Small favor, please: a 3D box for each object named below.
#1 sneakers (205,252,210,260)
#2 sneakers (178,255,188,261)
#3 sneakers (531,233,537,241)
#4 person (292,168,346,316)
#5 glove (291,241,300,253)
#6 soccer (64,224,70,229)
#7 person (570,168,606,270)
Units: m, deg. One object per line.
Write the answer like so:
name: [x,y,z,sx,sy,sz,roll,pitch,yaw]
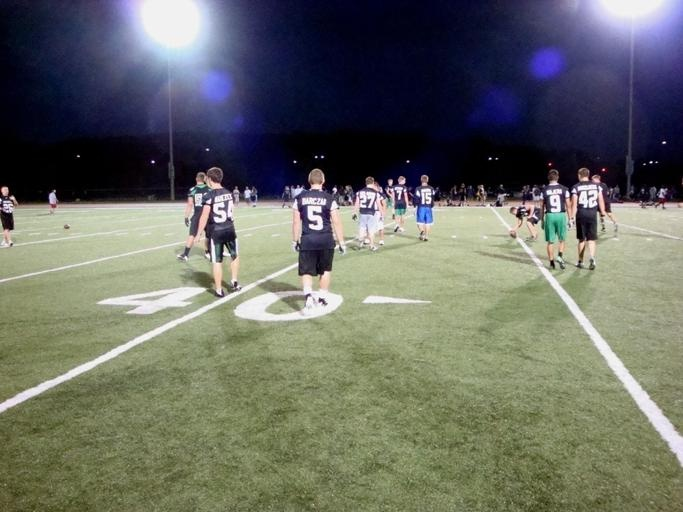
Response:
sneakers: [-2.799,-0.008,10.171,0.105,0.155,0.148,-1,-26,-7]
sneakers: [-3.422,0.043,10.532,0.158,0.154,0.282,-6,14,-25]
sneakers: [5.934,-0.588,14.890,0.178,0.174,0.645,4,14,22]
person: [-0.340,-0.272,7.330,0.730,2.058,1.201,-1,11,-1]
glove: [-0.672,-0.146,7.136,0.091,0.135,0.128,2,9,10]
soccer: [-11.307,-1.221,20.036,0.234,0.186,0.237,-3,5,-19]
person: [5.107,-0.790,10.149,0.879,2.047,0.696,-2,4,-17]
